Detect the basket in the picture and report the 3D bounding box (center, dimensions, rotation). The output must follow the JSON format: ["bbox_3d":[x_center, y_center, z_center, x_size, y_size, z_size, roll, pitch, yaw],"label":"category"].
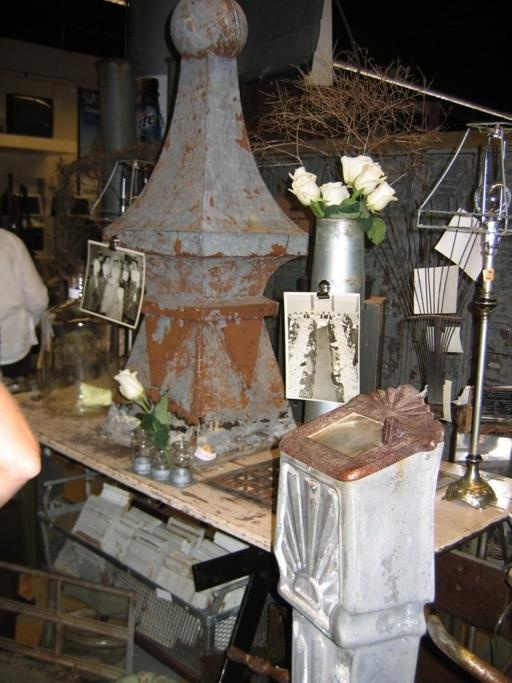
[{"bbox_3d":[-0.274,0.712,1.628,0.629,0.377,0.200,17,19,36],"label":"basket"}]

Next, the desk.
[{"bbox_3d":[-0.111,0.419,1.445,1.356,0.442,0.581,-3,12,34],"label":"desk"}]

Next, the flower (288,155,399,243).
[{"bbox_3d":[0.209,-0.316,1.266,0.185,0.122,0.183,-21,9,-36],"label":"flower"}]

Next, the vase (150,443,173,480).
[{"bbox_3d":[-0.212,0.275,1.316,0.071,0.093,0.064,1,-7,-1],"label":"vase"}]
